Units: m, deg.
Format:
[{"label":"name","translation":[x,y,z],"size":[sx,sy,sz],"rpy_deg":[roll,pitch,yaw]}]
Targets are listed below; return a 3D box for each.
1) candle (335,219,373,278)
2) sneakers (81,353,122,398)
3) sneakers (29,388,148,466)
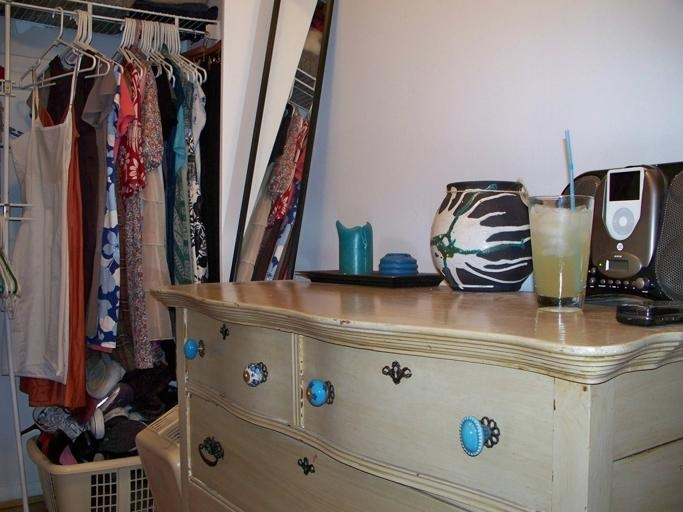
[{"label":"candle","translation":[0.036,-0.021,1.458],"size":[0.091,0.134,0.093],"rpy_deg":[-1,3,-1]},{"label":"sneakers","translation":[-0.947,0.443,2.177],"size":[0.183,0.072,0.153],"rpy_deg":[6,-39,-8]},{"label":"sneakers","translation":[-0.954,0.570,2.052],"size":[0.321,0.125,0.282],"rpy_deg":[-3,8,-35]}]
